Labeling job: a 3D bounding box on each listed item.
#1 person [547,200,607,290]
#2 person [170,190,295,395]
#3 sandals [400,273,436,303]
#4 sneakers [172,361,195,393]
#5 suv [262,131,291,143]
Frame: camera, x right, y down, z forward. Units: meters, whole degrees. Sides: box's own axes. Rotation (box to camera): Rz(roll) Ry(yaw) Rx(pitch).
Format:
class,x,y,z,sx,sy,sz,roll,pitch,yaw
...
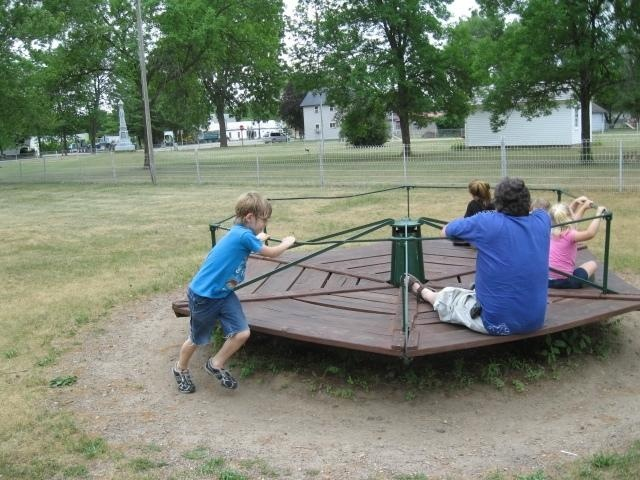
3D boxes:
class,x,y,z,sx,sy,sz,roll,pitch,yaw
person,3.054,0.029,6.836,0.592,1.067,1.524,-1,6,24
person,-0.934,0.565,5.910,1.363,2.079,0.619,-1,7,21
sandals,1.068,0.528,6.543,0.173,0.206,0.590,13,17,-34
sneakers,-1.457,1.472,6.155,0.162,0.149,0.351,-2,32,-46
suv,-5.967,-14.451,80.827,3.894,1.221,2.027,-8,12,-18
